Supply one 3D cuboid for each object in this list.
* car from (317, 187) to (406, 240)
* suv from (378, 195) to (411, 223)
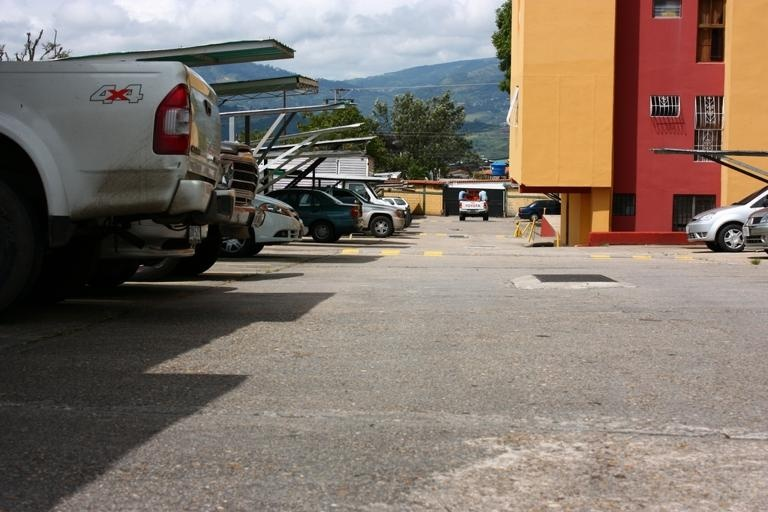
[{"bbox_3d":[-1.260,-1.768,30.807,4.806,1.775,1.990,1,9,20],"label":"car"},{"bbox_3d":[0.626,-2.753,44.313,1.532,1.118,2.323,0,-4,2],"label":"suv"}]
